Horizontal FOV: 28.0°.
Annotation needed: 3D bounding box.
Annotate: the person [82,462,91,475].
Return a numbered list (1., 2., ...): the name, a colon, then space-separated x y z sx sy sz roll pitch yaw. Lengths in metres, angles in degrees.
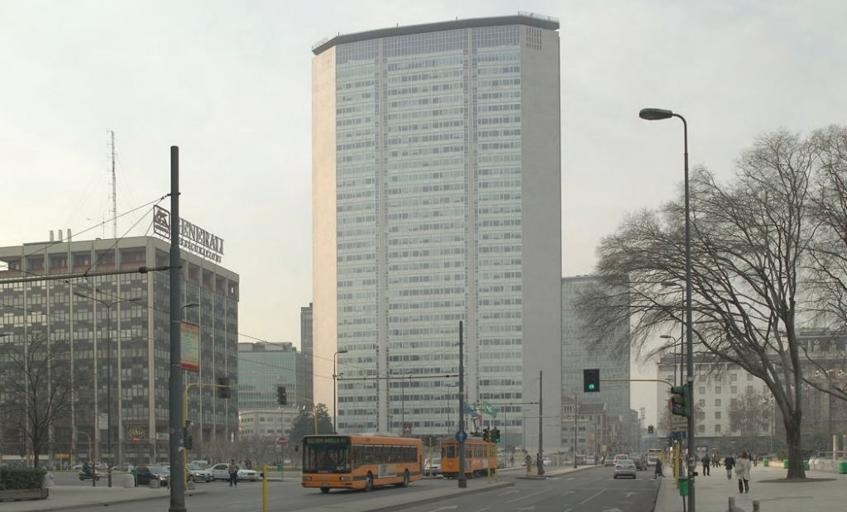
1. person: -63.598 40.003 321.285 1.413 2.390 0.642 15 -27 -29

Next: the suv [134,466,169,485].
1. suv: -48.479 38.842 301.788 6.023 3.873 2.390 -9 -16 17
